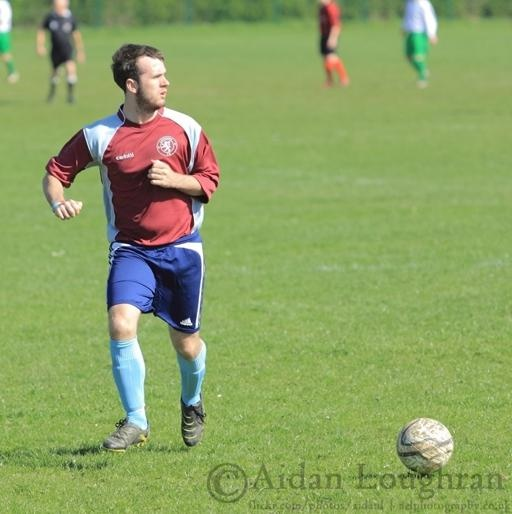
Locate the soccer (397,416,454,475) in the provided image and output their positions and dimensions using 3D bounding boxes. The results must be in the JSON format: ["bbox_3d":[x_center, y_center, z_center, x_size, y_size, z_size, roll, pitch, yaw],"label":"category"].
[{"bbox_3d":[0.946,1.094,6.848,0.337,0.369,0.356,-2,13,19],"label":"soccer"}]

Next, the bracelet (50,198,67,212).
[{"bbox_3d":[-1.131,-0.288,6.915,0.067,0.019,0.074,-32,26,15],"label":"bracelet"}]

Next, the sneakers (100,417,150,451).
[{"bbox_3d":[-0.746,1.046,6.930,0.115,0.168,0.324,6,17,26],"label":"sneakers"}]

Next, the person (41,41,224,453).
[{"bbox_3d":[-0.677,-0.019,6.973,0.953,2.360,0.715,-2,14,-4],"label":"person"}]

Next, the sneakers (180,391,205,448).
[{"bbox_3d":[-0.377,0.994,7.192,0.097,0.300,0.121,-3,-11,0],"label":"sneakers"}]
